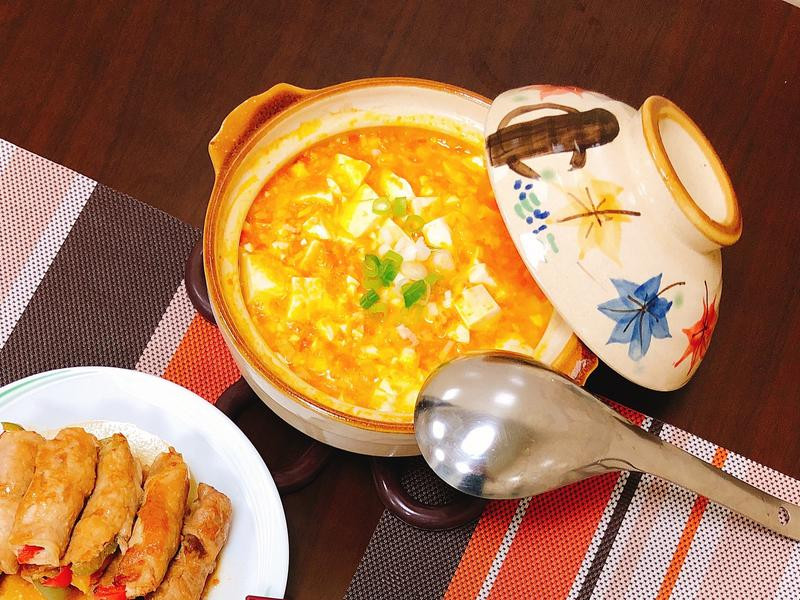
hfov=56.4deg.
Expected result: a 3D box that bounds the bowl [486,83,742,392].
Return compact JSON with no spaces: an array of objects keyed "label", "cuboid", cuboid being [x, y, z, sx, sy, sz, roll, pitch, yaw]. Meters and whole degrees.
[{"label":"bowl","cuboid":[0.465,-0.112,1.619,0.527,0.212,0.621,-3,84,-1]}]
